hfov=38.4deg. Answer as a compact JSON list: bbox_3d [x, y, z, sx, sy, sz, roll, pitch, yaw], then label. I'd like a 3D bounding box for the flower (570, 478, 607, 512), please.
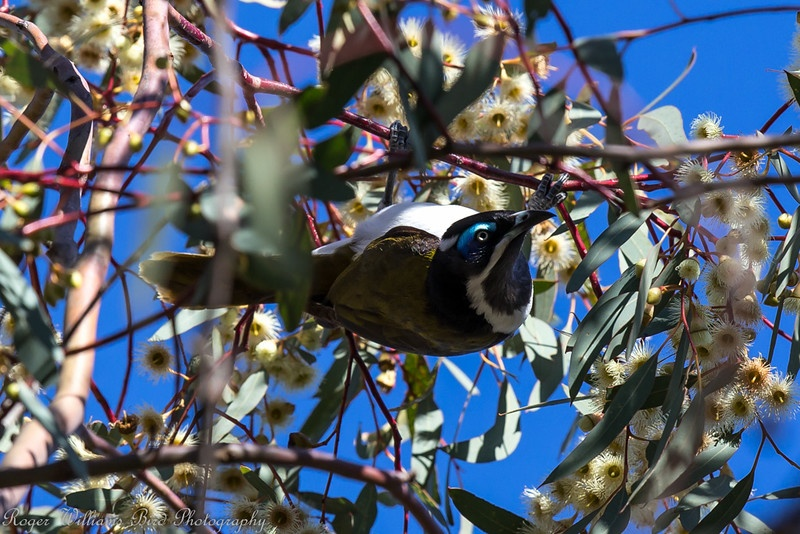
[{"bbox_3d":[0.713,0.854,4.318,0.106,0.047,0.126,6,-91,7],"label":"flower"}]
